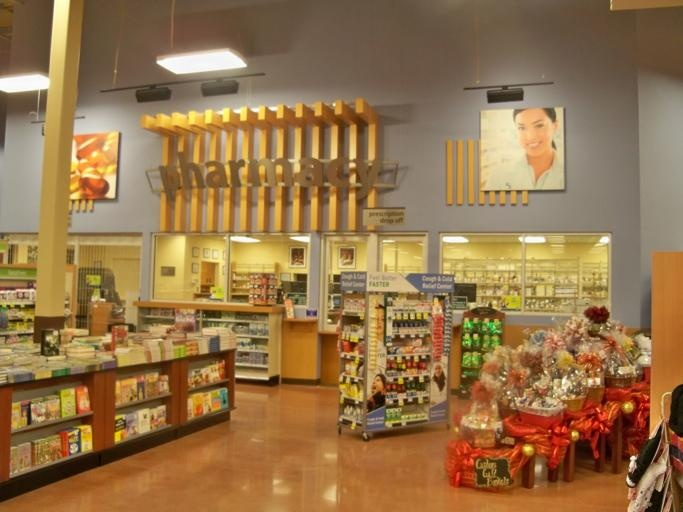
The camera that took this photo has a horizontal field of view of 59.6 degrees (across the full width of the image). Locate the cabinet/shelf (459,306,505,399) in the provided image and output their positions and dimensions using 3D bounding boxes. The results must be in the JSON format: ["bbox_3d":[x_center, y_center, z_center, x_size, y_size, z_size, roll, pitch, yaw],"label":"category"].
[{"bbox_3d":[2.537,1.757,10.784,0.739,1.636,0.321,2,2,13],"label":"cabinet/shelf"}]

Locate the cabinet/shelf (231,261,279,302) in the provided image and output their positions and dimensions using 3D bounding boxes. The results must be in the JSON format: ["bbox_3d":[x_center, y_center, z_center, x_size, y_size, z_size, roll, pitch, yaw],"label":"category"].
[{"bbox_3d":[-1.801,0.559,12.210,1.115,0.813,0.426,2,3,20],"label":"cabinet/shelf"}]

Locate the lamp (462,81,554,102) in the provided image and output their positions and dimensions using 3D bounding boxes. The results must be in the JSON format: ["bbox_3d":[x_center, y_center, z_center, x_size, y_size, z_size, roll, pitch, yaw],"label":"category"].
[{"bbox_3d":[3.059,-3.046,11.006,1.568,0.459,0.659,2,4,13],"label":"lamp"}]

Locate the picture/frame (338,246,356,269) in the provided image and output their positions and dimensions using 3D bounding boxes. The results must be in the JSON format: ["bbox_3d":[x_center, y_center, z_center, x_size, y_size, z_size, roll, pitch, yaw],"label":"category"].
[{"bbox_3d":[0.134,0.048,11.985,0.398,0.558,0.037,0,-5,5],"label":"picture/frame"}]

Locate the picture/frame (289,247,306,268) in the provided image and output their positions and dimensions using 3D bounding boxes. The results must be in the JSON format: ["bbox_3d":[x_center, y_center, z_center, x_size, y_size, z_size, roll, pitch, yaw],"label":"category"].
[{"bbox_3d":[-0.865,0.046,12.144,0.377,0.488,0.050,0,-5,15],"label":"picture/frame"}]
